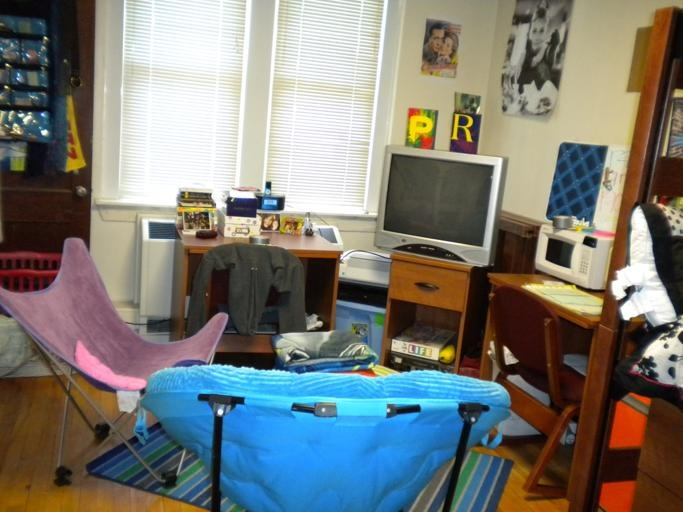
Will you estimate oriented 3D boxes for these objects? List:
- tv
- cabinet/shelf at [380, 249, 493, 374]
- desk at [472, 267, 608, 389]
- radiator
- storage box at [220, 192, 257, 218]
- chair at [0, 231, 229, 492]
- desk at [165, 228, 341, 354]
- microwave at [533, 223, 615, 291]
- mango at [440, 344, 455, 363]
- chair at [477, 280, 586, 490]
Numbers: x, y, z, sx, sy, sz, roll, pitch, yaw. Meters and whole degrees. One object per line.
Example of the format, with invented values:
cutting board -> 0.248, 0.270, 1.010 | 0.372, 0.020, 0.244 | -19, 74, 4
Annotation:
tv -> 0.631, -0.292, 3.475 | 0.740, 0.675, 0.410 | 9, 5, 14
cabinet/shelf -> 0.626, 0.460, 3.663 | 0.569, 0.914, 0.526 | 10, 9, 33
desk -> 1.036, 0.306, 2.919 | 0.687, 0.674, 0.516 | 7, 1, 36
radiator -> -1.354, 0.116, 3.885 | 0.478, 0.673, 0.369 | 15, 13, 43
storage box -> -0.634, -0.336, 3.442 | 0.150, 0.151, 0.213 | 0, 8, -12
chair -> -1.218, 0.460, 2.950 | 1.136, 1.270, 1.065 | 6, 13, -4
desk -> -0.489, 0.272, 3.448 | 0.769, 0.744, 0.549 | -4, 17, -38
microwave -> 1.307, -0.002, 3.048 | 0.254, 0.297, 0.429 | 1, 12, -18
mango -> 0.674, 0.619, 3.527 | 0.070, 0.074, 0.123 | 25, 45, 34
chair -> 1.117, 0.639, 2.861 | 0.608, 0.904, 0.635 | 4, 6, -11
